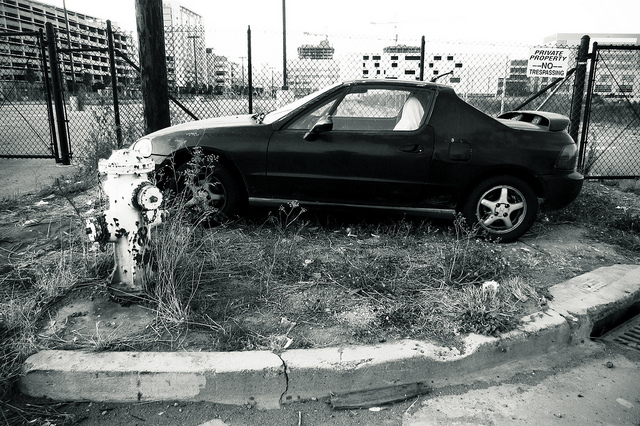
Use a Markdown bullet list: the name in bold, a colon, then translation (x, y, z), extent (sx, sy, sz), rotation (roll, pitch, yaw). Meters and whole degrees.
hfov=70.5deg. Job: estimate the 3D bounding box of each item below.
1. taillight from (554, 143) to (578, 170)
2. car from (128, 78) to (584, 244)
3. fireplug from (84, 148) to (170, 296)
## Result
- **taillight**: translation (3.219, -0.718, 5.895), extent (0.219, 0.186, 0.373), rotation (0, 12, 6)
- **car**: translation (0.584, -0.852, 6.655), extent (5.406, 1.920, 2.594), rotation (3, 11, 1)
- **fireplug**: translation (-1.871, 0.104, 4.369), extent (0.682, 1.347, 0.473), rotation (-10, 23, -29)
